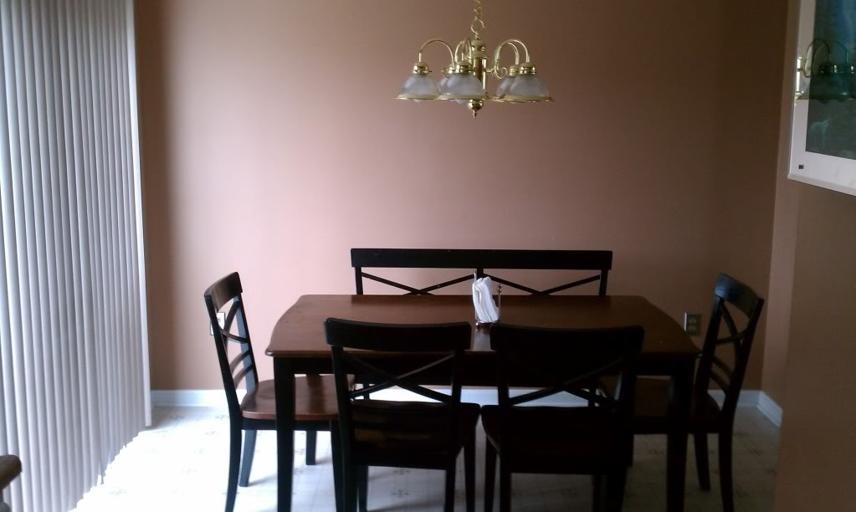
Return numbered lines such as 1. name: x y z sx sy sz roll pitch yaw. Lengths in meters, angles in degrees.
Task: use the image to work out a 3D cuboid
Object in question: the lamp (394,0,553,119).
1. lamp: 0.271 -1.183 4.091 0.514 0.690 0.632 4 26 3
